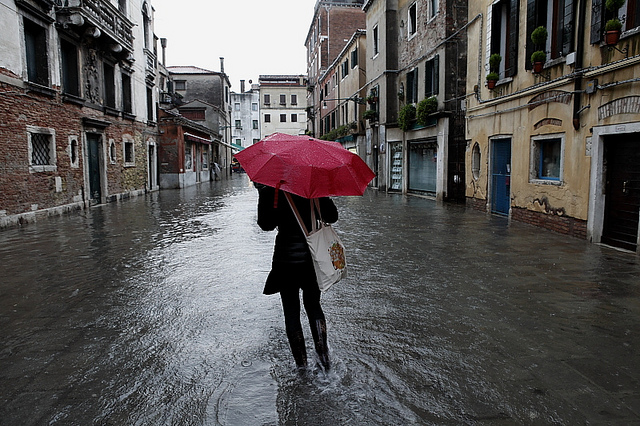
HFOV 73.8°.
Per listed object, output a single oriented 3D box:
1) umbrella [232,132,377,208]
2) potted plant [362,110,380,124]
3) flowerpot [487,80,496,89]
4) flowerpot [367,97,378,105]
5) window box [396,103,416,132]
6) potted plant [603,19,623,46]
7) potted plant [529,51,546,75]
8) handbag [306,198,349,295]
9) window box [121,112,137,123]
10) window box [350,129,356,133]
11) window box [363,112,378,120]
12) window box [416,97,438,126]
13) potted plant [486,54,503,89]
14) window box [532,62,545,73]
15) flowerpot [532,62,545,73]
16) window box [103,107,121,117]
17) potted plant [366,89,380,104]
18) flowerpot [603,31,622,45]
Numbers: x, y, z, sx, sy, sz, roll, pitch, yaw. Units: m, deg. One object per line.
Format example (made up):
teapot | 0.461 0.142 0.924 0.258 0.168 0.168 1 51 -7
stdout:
umbrella | -0.192 -0.502 4.976 1.041 0.682 1.090 13 35 1
potted plant | 3.290 -6.173 27.301 0.707 0.885 1.621 -2 13 -5
flowerpot | 5.825 -4.383 14.506 0.227 0.197 0.237 1 6 -10
flowerpot | 3.316 -7.115 26.772 0.593 0.308 0.818 -2 2 -3
window box | 4.576 -5.001 22.371 0.551 1.342 1.312 -1 12 -2
potted plant | 6.538 -4.098 9.483 0.314 0.481 0.327 -16 18 -38
potted plant | 6.120 -4.224 11.970 0.378 0.583 0.470 7 15 32
handbag | 0.088 0.350 4.837 0.356 1.024 0.502 5 13 23
window box | -10.469 -5.280 23.376 1.024 0.246 1.020 -6 6 -42
window box | 2.560 -6.397 33.127 0.070 0.266 0.979 -4 14 -18
window box | 3.241 -6.214 27.096 0.416 0.392 0.905 -9 15 -33
window box | 4.932 -4.693 19.714 0.804 1.108 0.502 4 16 7
potted plant | 5.835 -4.789 14.298 0.473 1.138 0.774 4 13 21
window box | 6.075 -4.088 11.924 0.255 0.208 0.254 -1 3 -43
flowerpot | 6.135 -4.094 11.970 0.251 0.206 0.253 0 3 -35
window box | -10.201 -5.005 20.939 0.223 0.198 0.805 -6 2 7
potted plant | 3.424 -7.315 27.153 0.819 0.481 1.090 -3 44 8
flowerpot | 6.506 -3.906 9.513 0.262 0.213 0.274 6 9 17
